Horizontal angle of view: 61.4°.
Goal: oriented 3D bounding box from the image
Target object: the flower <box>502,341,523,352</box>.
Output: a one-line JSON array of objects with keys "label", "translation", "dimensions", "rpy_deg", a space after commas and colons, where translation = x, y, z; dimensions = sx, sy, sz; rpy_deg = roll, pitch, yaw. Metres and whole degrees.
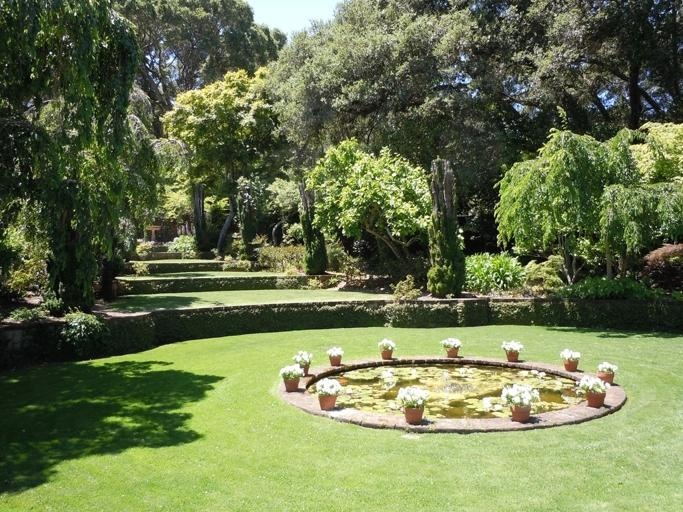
[{"label": "flower", "translation": [3.604, 1.903, 12.125], "dimensions": [0.299, 0.179, 0.277], "rpy_deg": [1, 2, 36]}]

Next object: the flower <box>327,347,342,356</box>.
[{"label": "flower", "translation": [-0.132, 1.990, 11.968], "dimensions": [0.193, 0.143, 0.215], "rpy_deg": [2, 0, 5]}]

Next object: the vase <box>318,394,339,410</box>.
[{"label": "vase", "translation": [-0.241, 2.408, 9.539], "dimensions": [0.253, 0.200, 0.252], "rpy_deg": [3, -6, -24]}]

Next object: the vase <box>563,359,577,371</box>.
[{"label": "vase", "translation": [4.519, 2.141, 11.300], "dimensions": [0.256, 0.278, 0.306], "rpy_deg": [1, 7, 16]}]

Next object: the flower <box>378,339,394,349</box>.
[{"label": "flower", "translation": [1.007, 1.916, 12.457], "dimensions": [0.207, 0.167, 0.220], "rpy_deg": [1, -4, 17]}]

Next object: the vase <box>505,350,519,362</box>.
[{"label": "vase", "translation": [3.626, 2.131, 12.161], "dimensions": [0.207, 0.158, 0.220], "rpy_deg": [1, -8, -7]}]

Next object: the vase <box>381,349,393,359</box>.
[{"label": "vase", "translation": [0.993, 2.132, 12.439], "dimensions": [0.234, 0.202, 0.277], "rpy_deg": [0, 7, 4]}]

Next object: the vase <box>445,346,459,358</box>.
[{"label": "vase", "translation": [2.423, 2.113, 12.616], "dimensions": [0.218, 0.160, 0.231], "rpy_deg": [-2, -3, 26]}]

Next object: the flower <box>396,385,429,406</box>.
[{"label": "flower", "translation": [1.071, 2.192, 8.911], "dimensions": [0.379, 0.230, 0.376], "rpy_deg": [4, -7, -37]}]

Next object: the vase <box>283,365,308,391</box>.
[{"label": "vase", "translation": [-0.871, 2.228, 10.507], "dimensions": [0.391, 0.440, 0.412], "rpy_deg": [-7, -7, 36]}]

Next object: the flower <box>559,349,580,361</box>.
[{"label": "flower", "translation": [4.543, 1.967, 11.383], "dimensions": [0.321, 0.212, 0.465], "rpy_deg": [3, 8, 29]}]

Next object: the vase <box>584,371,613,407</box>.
[{"label": "vase", "translation": [4.194, 2.253, 9.522], "dimensions": [0.392, 0.468, 0.430], "rpy_deg": [-4, -10, 44]}]

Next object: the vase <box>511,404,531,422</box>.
[{"label": "vase", "translation": [2.775, 2.438, 8.883], "dimensions": [0.244, 0.205, 0.260], "rpy_deg": [-1, -3, -2]}]

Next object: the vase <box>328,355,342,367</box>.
[{"label": "vase", "translation": [-0.131, 2.186, 12.003], "dimensions": [0.228, 0.242, 0.377], "rpy_deg": [-1, 7, -2]}]

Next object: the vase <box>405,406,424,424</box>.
[{"label": "vase", "translation": [1.124, 2.455, 8.858], "dimensions": [0.245, 0.192, 0.259], "rpy_deg": [1, -9, -10]}]

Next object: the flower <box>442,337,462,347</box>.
[{"label": "flower", "translation": [2.399, 1.911, 12.576], "dimensions": [0.267, 0.172, 0.288], "rpy_deg": [-1, -2, 11]}]

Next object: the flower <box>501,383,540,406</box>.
[{"label": "flower", "translation": [2.741, 2.187, 9.063], "dimensions": [0.492, 0.303, 0.498], "rpy_deg": [2, -5, -33]}]

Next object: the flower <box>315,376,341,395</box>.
[{"label": "flower", "translation": [-0.217, 2.210, 9.628], "dimensions": [0.358, 0.250, 0.338], "rpy_deg": [1, 7, 12]}]
